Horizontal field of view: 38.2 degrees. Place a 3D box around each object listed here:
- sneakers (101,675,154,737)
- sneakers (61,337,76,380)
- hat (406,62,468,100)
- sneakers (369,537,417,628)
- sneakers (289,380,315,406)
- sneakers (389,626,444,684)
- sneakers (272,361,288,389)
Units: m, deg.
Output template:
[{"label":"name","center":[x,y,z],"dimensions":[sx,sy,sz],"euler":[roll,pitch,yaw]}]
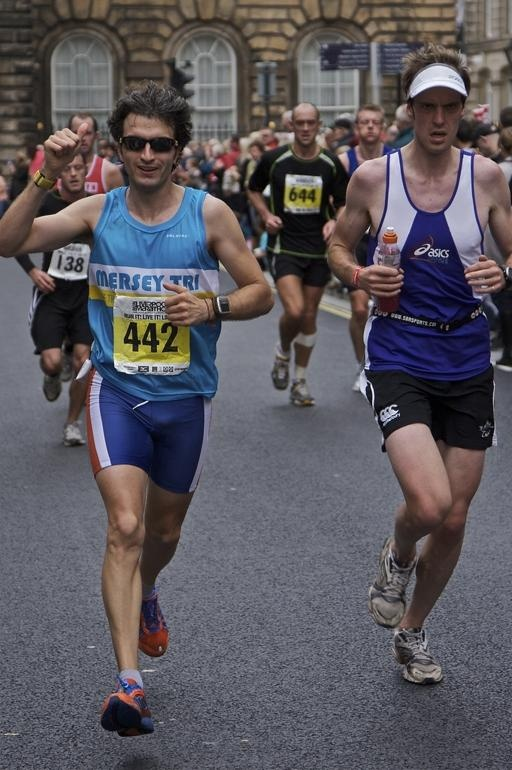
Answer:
[{"label":"sneakers","center":[-0.257,0.671,1.482],"dimensions":[0.095,0.132,0.127],"euler":[-1,2,4]},{"label":"sneakers","center":[-1.717,-0.255,6.747],"dimensions":[0.118,0.364,0.158],"euler":[-2,17,-3]},{"label":"hat","center":[0.514,-0.871,2.105],"dimensions":[0.164,0.104,0.127],"euler":[-1,2,11]},{"label":"sneakers","center":[0.446,0.568,2.239],"dimensions":[0.106,0.302,0.137],"euler":[16,-21,-15]},{"label":"sneakers","center":[0.454,0.086,7.408],"dimensions":[0.253,0.265,0.224],"euler":[-1,1,8]},{"label":"sneakers","center":[0.477,0.824,2.232],"dimensions":[0.080,0.091,0.206],"euler":[-2,13,-10]},{"label":"sneakers","center":[0.247,-0.106,7.688],"dimensions":[0.122,0.313,0.135],"euler":[-4,5,-8]}]
